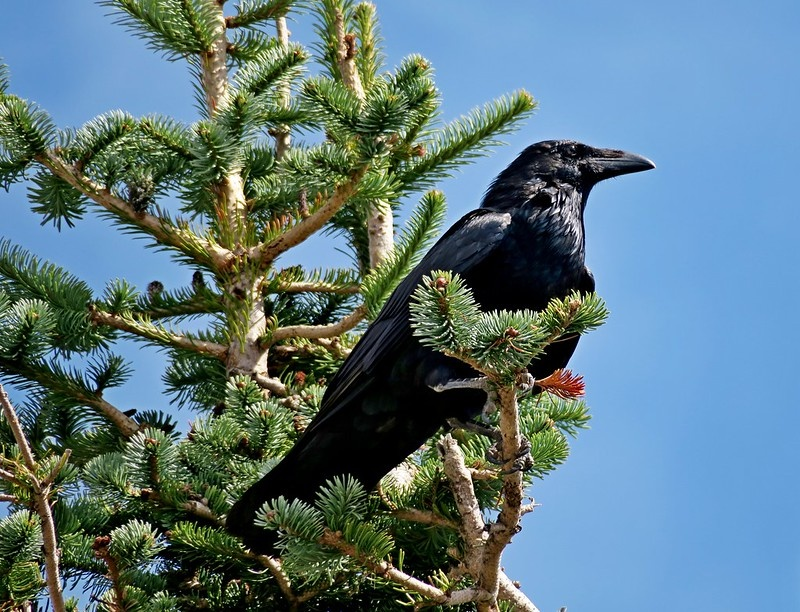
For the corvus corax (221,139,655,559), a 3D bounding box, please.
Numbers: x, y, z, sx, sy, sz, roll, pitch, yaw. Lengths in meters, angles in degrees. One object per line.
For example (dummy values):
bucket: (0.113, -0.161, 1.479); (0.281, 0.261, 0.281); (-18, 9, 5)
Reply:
corvus corax: (0.255, 0.054, 10.681); (2.597, 1.813, 1.049); (-19, -35, 37)
